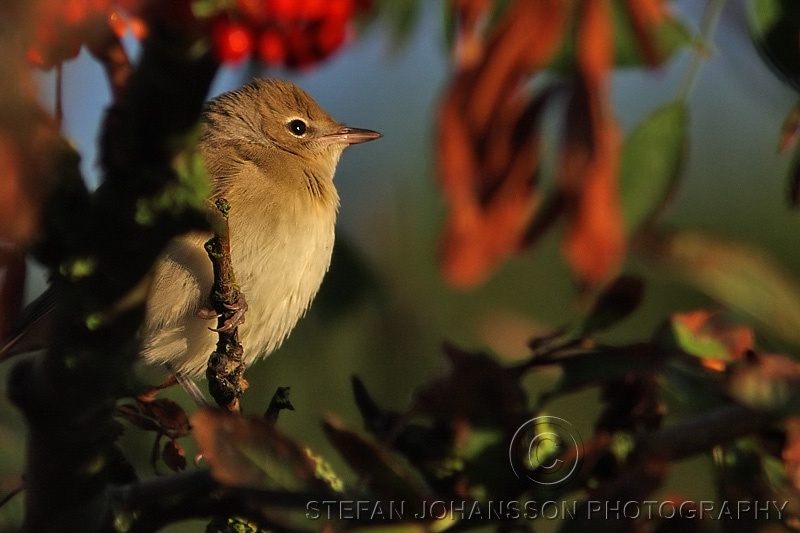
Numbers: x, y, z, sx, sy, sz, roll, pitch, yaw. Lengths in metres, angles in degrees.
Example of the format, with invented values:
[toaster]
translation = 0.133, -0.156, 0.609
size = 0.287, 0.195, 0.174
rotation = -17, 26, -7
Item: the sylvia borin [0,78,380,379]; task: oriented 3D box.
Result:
[sylvia borin]
translation = -0.302, -0.028, 1.586
size = 0.666, 0.252, 0.286
rotation = -40, 59, -13
